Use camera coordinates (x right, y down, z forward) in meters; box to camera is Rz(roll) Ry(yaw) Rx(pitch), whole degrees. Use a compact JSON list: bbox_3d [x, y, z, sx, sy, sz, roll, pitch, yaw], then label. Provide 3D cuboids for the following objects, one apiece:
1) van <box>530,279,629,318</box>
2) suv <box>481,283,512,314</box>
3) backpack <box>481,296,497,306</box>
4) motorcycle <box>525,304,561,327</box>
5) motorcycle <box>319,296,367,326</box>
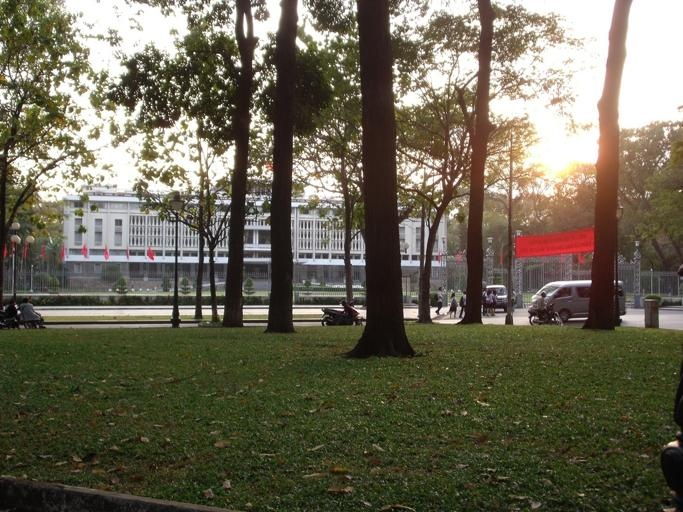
[{"bbox_3d":[10.403,2.083,36.839,4.099,2.008,1.907,0,-1,-4],"label":"van"},{"bbox_3d":[9.107,2.487,47.681,1.334,1.376,2.904,0,-7,3],"label":"suv"},{"bbox_3d":[8.354,2.523,45.650,0.500,0.803,0.352,7,-4,3],"label":"backpack"},{"bbox_3d":[8.244,2.458,33.075,1.404,1.002,0.780,-3,-4,21],"label":"motorcycle"},{"bbox_3d":[-0.018,2.567,36.301,1.767,1.381,0.970,-2,-2,-2],"label":"motorcycle"}]
